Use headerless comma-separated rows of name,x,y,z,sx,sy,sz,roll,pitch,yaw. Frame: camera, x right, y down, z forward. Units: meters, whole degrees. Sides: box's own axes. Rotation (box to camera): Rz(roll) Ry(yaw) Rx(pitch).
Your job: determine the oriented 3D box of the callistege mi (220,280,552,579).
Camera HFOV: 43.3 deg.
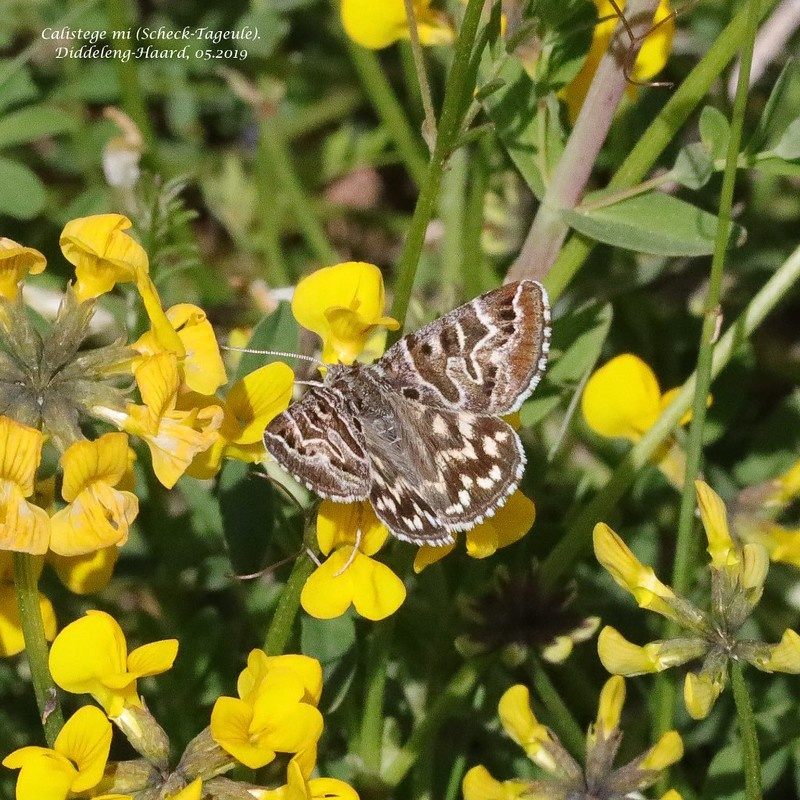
callistege mi,0.035,0.039,1.415,0.422,0.222,0.324,-21,79,-5
